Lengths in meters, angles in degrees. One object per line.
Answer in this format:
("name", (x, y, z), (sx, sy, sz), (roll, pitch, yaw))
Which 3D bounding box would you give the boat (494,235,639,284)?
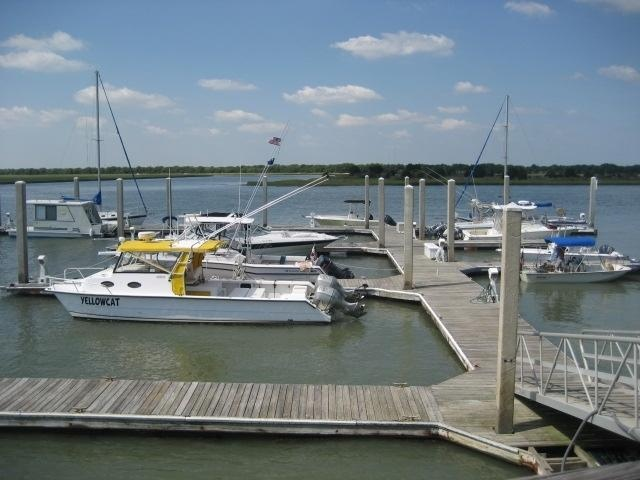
("boat", (8.626, 0.629, 25.188), (5.201, 1.303, 1.800), (0, 5, 0))

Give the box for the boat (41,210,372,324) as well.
("boat", (-3.575, 0.927, 20.954), (10.230, 2.357, 2.977), (1, 1, 2))

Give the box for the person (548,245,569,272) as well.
("person", (8.175, 0.601, 24.829), (0.563, 0.882, 0.608), (3, 5, 15))
